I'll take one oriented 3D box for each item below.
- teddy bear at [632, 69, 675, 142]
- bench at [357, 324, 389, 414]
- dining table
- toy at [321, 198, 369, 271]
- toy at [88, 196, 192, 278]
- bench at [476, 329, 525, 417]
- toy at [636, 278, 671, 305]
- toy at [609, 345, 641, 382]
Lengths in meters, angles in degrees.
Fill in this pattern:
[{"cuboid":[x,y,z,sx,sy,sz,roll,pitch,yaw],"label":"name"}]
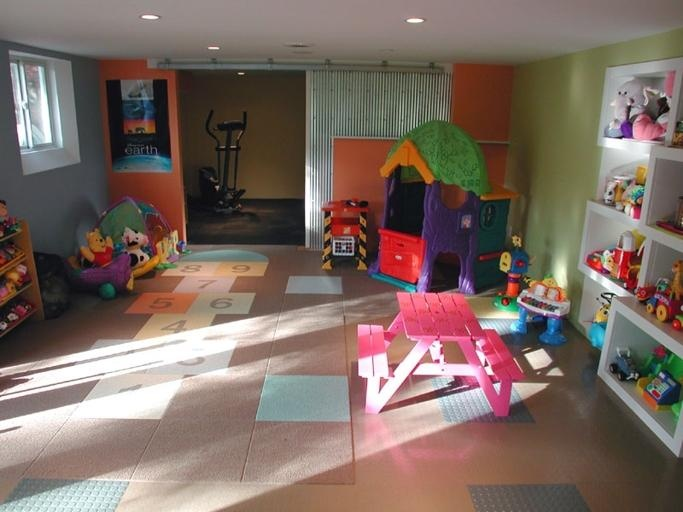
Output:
[{"cuboid":[3.032,-1.449,4.256,0.311,0.630,1.003,11,22,31],"label":"teddy bear"},{"cuboid":[0.289,1.095,4.181,0.192,0.332,0.623,-2,34,1],"label":"bench"},{"cuboid":[0.925,1.010,4.378,0.997,0.560,1.122,-2,21,-1],"label":"dining table"},{"cuboid":[0.010,-0.442,7.824,1.090,1.425,1.011,-1,7,-12],"label":"toy"},{"cuboid":[-3.249,-0.301,7.047,1.284,0.895,1.227,-4,13,-18],"label":"toy"},{"cuboid":[1.520,1.154,4.251,0.211,0.363,0.654,-4,32,2],"label":"bench"},{"cuboid":[2.871,0.344,4.034,0.268,0.138,0.196,-12,21,-13],"label":"toy"},{"cuboid":[2.787,1.062,4.406,0.198,0.234,0.319,3,20,10],"label":"toy"}]
